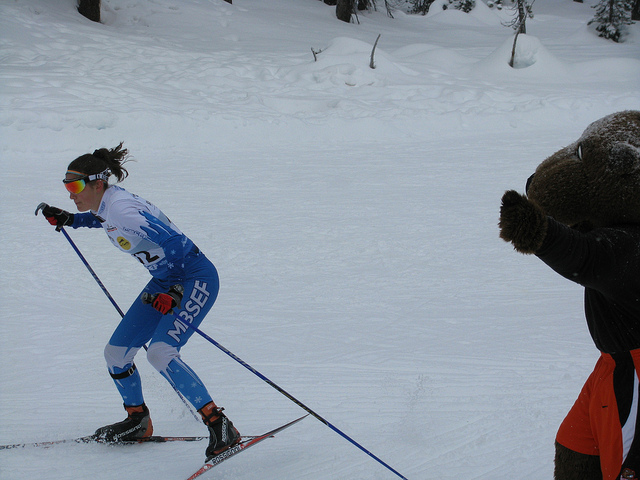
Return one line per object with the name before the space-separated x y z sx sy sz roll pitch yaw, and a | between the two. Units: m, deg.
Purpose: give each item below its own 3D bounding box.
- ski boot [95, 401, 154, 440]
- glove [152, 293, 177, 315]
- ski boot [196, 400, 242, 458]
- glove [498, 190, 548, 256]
ski boot | -1.557 1.383 5.275 0.218 0.312 0.589 -9 -14 31
glove | -1.113 0.450 4.923 0.174 0.135 0.102 3 24 -10
ski boot | -0.732 1.364 5.004 0.254 0.386 0.225 -5 28 -28
glove | 1.108 -0.096 3.770 0.293 0.316 0.177 14 25 15
